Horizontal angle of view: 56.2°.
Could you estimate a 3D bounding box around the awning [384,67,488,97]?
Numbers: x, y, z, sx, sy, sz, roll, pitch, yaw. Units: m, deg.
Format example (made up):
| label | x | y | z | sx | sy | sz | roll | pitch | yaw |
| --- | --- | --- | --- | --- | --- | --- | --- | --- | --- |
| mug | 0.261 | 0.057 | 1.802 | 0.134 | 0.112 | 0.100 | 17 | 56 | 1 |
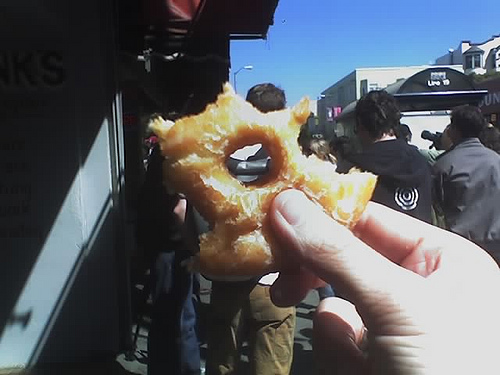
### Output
| label | x | y | z | sx | sy | sz | roll | pitch | yaw |
| --- | --- | --- | --- | --- | --- | --- | --- | --- | --- |
| awning | 1.198 | -0.684 | 3.053 | 0.634 | 0.199 | 0.077 | 1 | 4 | -8 |
